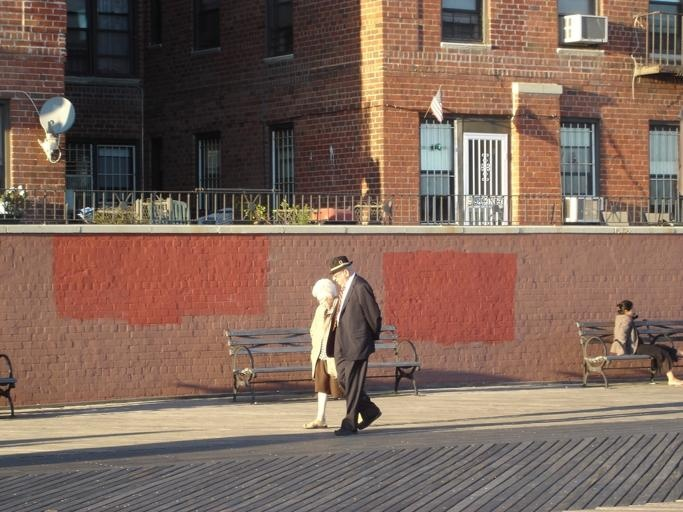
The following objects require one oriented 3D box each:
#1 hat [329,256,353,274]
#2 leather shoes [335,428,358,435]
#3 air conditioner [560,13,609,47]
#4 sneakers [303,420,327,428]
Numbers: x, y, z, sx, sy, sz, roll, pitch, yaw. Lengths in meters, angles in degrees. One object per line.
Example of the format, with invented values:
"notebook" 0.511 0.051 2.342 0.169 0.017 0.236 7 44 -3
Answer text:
"hat" 0.003 0.075 24.979 0.271 0.134 0.323 -26 -1 41
"leather shoes" 0.054 2.649 24.832 0.265 0.127 0.122 4 -4 -4
"air conditioner" 4.930 -4.540 33.323 0.937 0.665 0.539 0 -1 -34
"sneakers" -0.410 2.611 25.317 0.256 0.115 0.148 4 -6 -9
